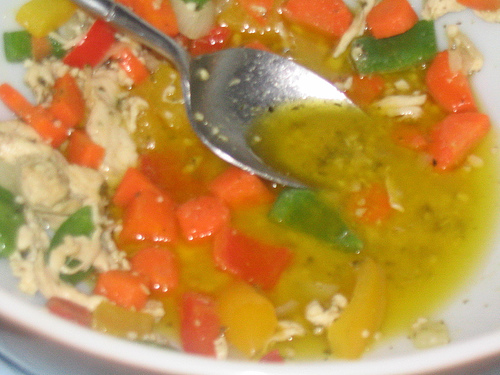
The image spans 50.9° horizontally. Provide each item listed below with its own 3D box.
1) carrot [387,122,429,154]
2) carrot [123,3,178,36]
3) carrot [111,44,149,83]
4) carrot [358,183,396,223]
[{"bbox_3d":[0.846,-0.279,2.812,0.183,0.047,0.146,26,51,22],"label":"carrot"},{"bbox_3d":[-0.500,-0.901,2.804,0.168,0.167,0.046,27,71,-19],"label":"carrot"},{"bbox_3d":[-0.628,-0.662,2.862,0.120,0.078,0.238,-39,105,8],"label":"carrot"},{"bbox_3d":[0.631,0.073,2.708,0.183,0.027,0.193,-21,80,-1],"label":"carrot"}]
